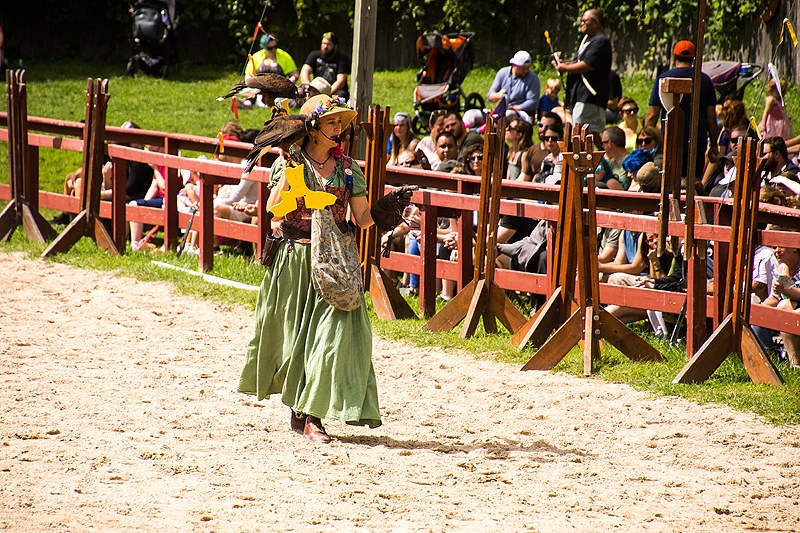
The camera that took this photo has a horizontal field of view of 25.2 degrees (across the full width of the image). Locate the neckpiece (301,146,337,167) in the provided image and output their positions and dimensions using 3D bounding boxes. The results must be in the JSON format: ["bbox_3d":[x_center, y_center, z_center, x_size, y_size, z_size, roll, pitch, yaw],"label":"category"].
[{"bbox_3d":[-0.902,-1.249,20.383,0.235,0.176,0.285,6,-7,-28],"label":"neckpiece"}]

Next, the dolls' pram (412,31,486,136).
[{"bbox_3d":[0.723,-3.039,29.589,1.395,1.664,1.534,-1,8,26],"label":"dolls' pram"}]

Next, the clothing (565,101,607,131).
[{"bbox_3d":[2.625,-2.130,25.132,0.444,0.395,0.282,17,20,2],"label":"clothing"}]

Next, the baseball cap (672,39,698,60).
[{"bbox_3d":[3.836,-2.909,24.110,0.273,0.282,0.445,2,12,0],"label":"baseball cap"}]

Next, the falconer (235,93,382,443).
[{"bbox_3d":[-1.074,0.016,20.371,1.300,3.990,1.363,4,12,11],"label":"falconer"}]

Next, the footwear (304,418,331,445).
[{"bbox_3d":[-0.940,1.868,20.361,0.162,0.178,0.378,2,2,-32],"label":"footwear"}]

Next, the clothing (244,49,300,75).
[{"bbox_3d":[-2.332,-3.666,31.872,0.892,0.445,1.751,4,7,-6],"label":"clothing"}]

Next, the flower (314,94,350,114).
[{"bbox_3d":[-0.780,-1.821,20.292,0.426,0.226,0.230,0,7,-34],"label":"flower"}]

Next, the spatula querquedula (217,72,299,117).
[{"bbox_3d":[-1.703,-2.217,22.172,0.972,0.596,0.330,9,12,-17],"label":"spatula querquedula"}]
